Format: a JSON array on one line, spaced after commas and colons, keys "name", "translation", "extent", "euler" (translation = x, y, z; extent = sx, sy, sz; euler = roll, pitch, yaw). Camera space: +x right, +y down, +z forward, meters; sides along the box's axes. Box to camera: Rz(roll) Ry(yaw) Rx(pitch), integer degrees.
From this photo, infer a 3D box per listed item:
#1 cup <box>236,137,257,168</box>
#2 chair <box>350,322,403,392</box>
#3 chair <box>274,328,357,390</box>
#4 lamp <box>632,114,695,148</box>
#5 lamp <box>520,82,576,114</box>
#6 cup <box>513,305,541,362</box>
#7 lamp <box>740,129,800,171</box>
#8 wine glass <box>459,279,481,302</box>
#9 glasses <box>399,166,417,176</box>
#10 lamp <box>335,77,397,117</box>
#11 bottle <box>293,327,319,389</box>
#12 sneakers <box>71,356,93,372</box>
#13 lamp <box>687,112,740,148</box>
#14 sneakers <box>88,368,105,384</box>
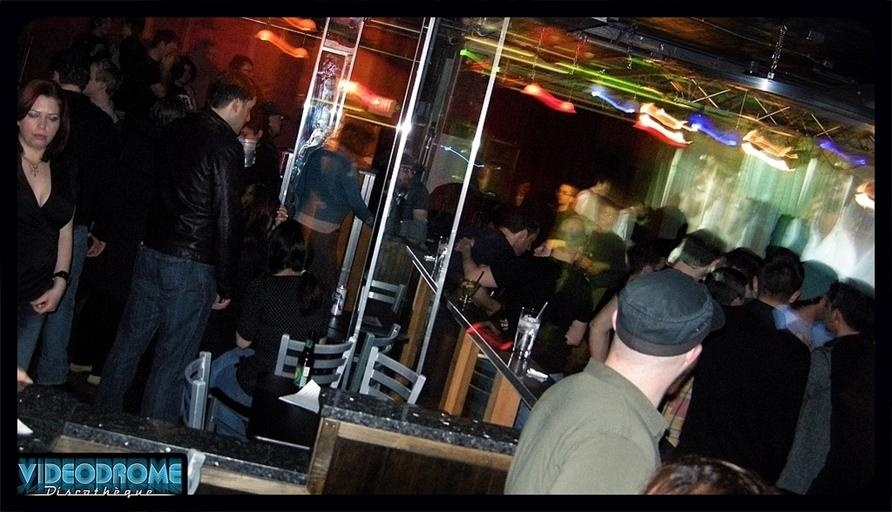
[{"name": "cup", "translation": [-1.810, -0.956, 5.456], "extent": [0.171, 0.265, 0.269], "euler": [17, -7, -26]}, {"name": "chair", "translation": [-0.513, 0.568, 4.189], "extent": [0.349, 0.315, 0.509], "euler": [-3, 17, -4]}, {"name": "chair", "translation": [-0.722, 0.685, 3.752], "extent": [0.305, 0.344, 0.230], "euler": [-4, -7, 14]}, {"name": "lamp", "translation": [3.607, -2.085, 9.980], "extent": [0.980, 0.239, 0.580], "euler": [30, -8, -25]}, {"name": "lamp", "translation": [1.768, -2.730, 10.329], "extent": [0.954, 0.128, 0.567], "euler": [28, -17, -26]}, {"name": "cup", "translation": [0.466, 0.458, 3.486], "extent": [0.115, 0.201, 0.155], "euler": [14, -6, 7]}, {"name": "lamp", "translation": [4.403, -1.377, 8.085], "extent": [0.719, 0.193, 0.530], "euler": [21, 3, -36]}, {"name": "wine glass", "translation": [0.159, 0.252, 4.343], "extent": [0.168, 0.153, 0.151], "euler": [6, 4, -9]}, {"name": "glasses", "translation": [-0.274, -0.600, 4.182], "extent": [0.101, 0.022, 0.089], "euler": [1, -10, -16]}, {"name": "lamp", "translation": [-0.865, -1.707, 6.350], "extent": [0.342, 0.323, 0.938], "euler": [11, -5, 19]}, {"name": "bottle", "translation": [-0.799, 0.594, 3.449], "extent": [0.102, 0.286, 0.265], "euler": [16, -6, -10]}, {"name": "sneakers", "translation": [-2.731, 0.813, 4.484], "extent": [0.151, 0.041, 0.138], "euler": [0, 7, -21]}, {"name": "lamp", "translation": [3.950, -1.858, 8.705], "extent": [0.932, 0.237, 0.370], "euler": [35, -19, -28]}, {"name": "sneakers", "translation": [-2.591, 0.889, 4.382], "extent": [0.072, 0.110, 0.165], "euler": [19, -8, -35]}]
